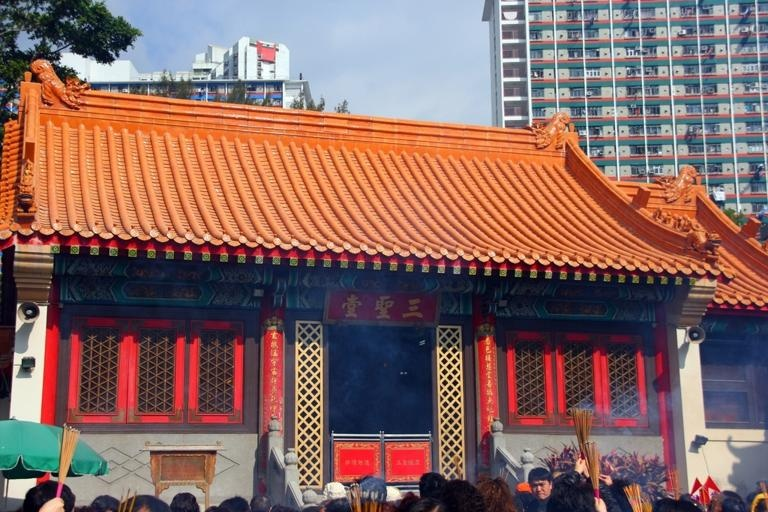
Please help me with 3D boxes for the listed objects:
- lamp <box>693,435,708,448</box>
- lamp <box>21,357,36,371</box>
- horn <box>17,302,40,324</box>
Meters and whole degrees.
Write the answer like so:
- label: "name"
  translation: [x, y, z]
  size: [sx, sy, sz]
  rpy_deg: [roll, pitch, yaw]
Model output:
- label: "lamp"
  translation: [7.783, 4.531, 32.877]
  size: [0.461, 0.339, 0.243]
  rpy_deg: [4, -13, -28]
- label: "lamp"
  translation: [-8.015, 2.450, 30.428]
  size: [0.327, 0.318, 0.111]
  rpy_deg: [1, -12, -15]
- label: "horn"
  translation: [-8.056, 1.322, 30.659]
  size: [0.430, 0.441, 0.472]
  rpy_deg: [1, 0, -20]
